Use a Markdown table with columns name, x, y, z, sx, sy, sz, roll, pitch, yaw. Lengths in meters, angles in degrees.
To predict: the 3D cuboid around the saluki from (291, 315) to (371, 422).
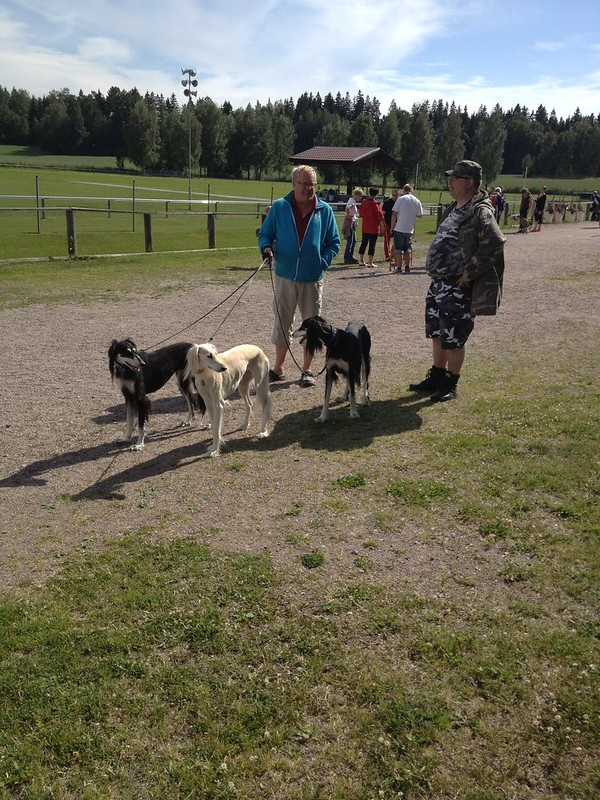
| name | x | y | z | sx | sy | sz | roll | pitch | yaw |
| --- | --- | --- | --- | --- | --- | --- | --- | --- | --- |
| saluki | 0.363 | -0.300 | 6.928 | 0.833 | 0.938 | 0.494 | -11 | 18 | -43 |

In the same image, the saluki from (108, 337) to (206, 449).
| name | x | y | z | sx | sy | sz | roll | pitch | yaw |
| --- | --- | --- | --- | --- | --- | --- | --- | --- | --- |
| saluki | -1.192 | -0.140 | 6.537 | 0.316 | 0.960 | 1.137 | 15 | 19 | 35 |

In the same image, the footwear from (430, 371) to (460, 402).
| name | x | y | z | sx | sy | sz | roll | pitch | yaw |
| --- | --- | --- | --- | --- | --- | --- | --- | --- | --- |
| footwear | 1.435 | -0.126 | 7.395 | 0.344 | 0.335 | 0.176 | -3 | 12 | -36 |

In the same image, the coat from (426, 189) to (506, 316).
| name | x | y | z | sx | sy | sz | roll | pitch | yaw |
| --- | --- | --- | --- | --- | --- | --- | --- | --- | --- |
| coat | 1.520 | -1.425 | 6.897 | 0.569 | 1.163 | 1.066 | -5 | 18 | -13 |

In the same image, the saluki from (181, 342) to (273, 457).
| name | x | y | z | sx | sy | sz | roll | pitch | yaw |
| --- | --- | --- | --- | --- | --- | --- | --- | --- | --- |
| saluki | -0.558 | -0.084 | 6.344 | 0.311 | 0.996 | 0.936 | 15 | 23 | 40 |

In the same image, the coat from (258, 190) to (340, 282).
| name | x | y | z | sx | sy | sz | roll | pitch | yaw |
| --- | --- | --- | --- | --- | --- | --- | --- | --- | --- |
| coat | 0.001 | -1.617 | 7.566 | 0.808 | 0.867 | 0.425 | 1 | 12 | -4 |

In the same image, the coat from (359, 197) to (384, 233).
| name | x | y | z | sx | sy | sz | roll | pitch | yaw |
| --- | --- | --- | --- | --- | --- | --- | --- | --- | --- |
| coat | 1.581 | -3.972 | 16.345 | 0.474 | 0.794 | 1.051 | 3 | 14 | 8 |
